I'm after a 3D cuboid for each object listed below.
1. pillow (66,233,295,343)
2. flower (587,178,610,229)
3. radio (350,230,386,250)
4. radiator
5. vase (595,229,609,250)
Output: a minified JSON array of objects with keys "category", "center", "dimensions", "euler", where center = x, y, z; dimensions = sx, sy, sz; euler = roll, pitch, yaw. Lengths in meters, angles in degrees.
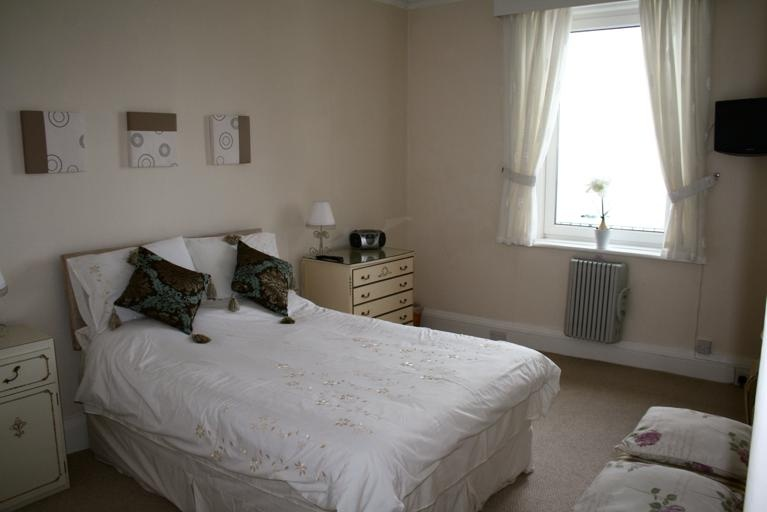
[{"category":"pillow","center":[-1.668,0.178,4.501],"dimensions":[1.280,0.883,0.880],"euler":[0,1,19]},{"category":"flower","center":[2.187,-0.541,5.480],"dimensions":[0.218,0.507,0.205],"euler":[2,11,22]},{"category":"radio","center":[-0.157,-0.181,5.752],"dimensions":[0.251,0.128,0.248],"euler":[-2,5,-18]},{"category":"radiator","center":[2.190,0.451,5.487],"dimensions":[0.270,0.813,0.556],"euler":[-6,11,-40]},{"category":"vase","center":[2.205,-0.175,5.433],"dimensions":[0.121,0.201,0.082],"euler":[2,11,21]}]
